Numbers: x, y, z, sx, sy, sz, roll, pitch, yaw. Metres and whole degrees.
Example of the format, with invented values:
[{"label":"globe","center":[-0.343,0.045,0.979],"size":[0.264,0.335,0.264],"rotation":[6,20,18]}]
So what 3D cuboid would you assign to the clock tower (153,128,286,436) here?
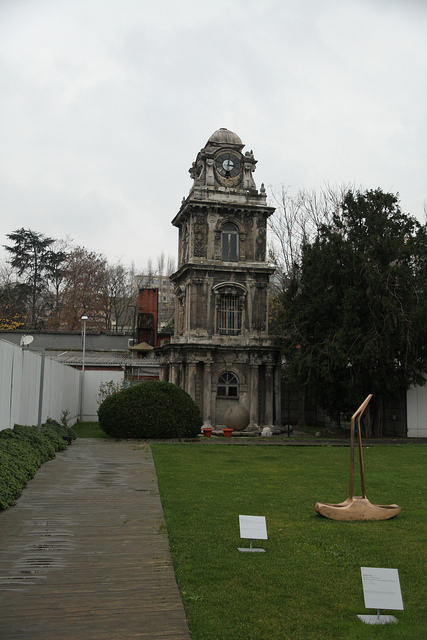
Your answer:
[{"label":"clock tower","center":[0.663,-2.845,38.128],"size":[6.770,17.892,5.196],"rotation":[2,-4,6]}]

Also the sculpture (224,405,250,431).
[{"label":"sculpture","center":[1.137,4.878,32.807],"size":[1.130,1.207,0.762],"rotation":[2,-4,-2]}]

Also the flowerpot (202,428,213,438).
[{"label":"flowerpot","center":[-0.303,5.044,29.525],"size":[0.350,0.397,0.596],"rotation":[3,-5,-7]}]

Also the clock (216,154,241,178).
[{"label":"clock","center":[0.787,-9.165,39.392],"size":[1.411,1.543,0.159],"rotation":[2,-7,-12]}]

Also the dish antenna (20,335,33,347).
[{"label":"dish antenna","center":[-5.120,0.570,17.976],"size":[0.207,0.207,0.339],"rotation":[3,8,10]}]

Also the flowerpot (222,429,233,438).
[{"label":"flowerpot","center":[0.618,5.205,30.479],"size":[0.360,0.375,0.586],"rotation":[2,-5,-3]}]

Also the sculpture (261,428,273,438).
[{"label":"sculpture","center":[2.628,5.669,33.282],"size":[0.363,0.394,0.342],"rotation":[-1,3,-41]}]
